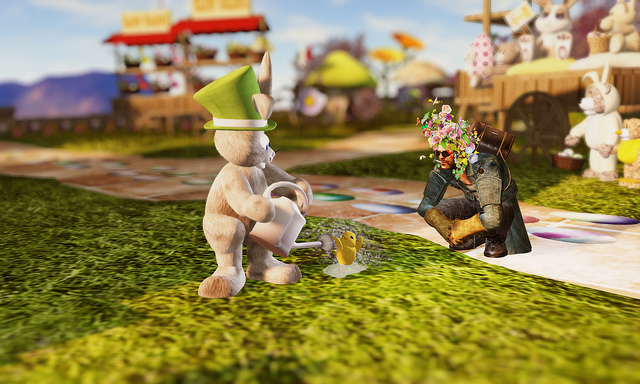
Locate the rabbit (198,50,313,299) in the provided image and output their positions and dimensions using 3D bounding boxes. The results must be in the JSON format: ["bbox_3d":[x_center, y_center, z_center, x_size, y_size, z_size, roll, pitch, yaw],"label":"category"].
[{"bbox_3d":[-0.598,-0.136,4.025,0.915,1.908,1.157,7,10,39],"label":"rabbit"}]

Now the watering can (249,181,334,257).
[{"bbox_3d":[-0.329,0.256,4.097,0.735,0.601,0.418,36,-13,-25],"label":"watering can"}]

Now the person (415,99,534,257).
[{"bbox_3d":[1.490,-0.132,4.643,1.046,1.400,1.037,-12,10,-39],"label":"person"}]

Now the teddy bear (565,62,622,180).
[{"bbox_3d":[4.400,-1.113,7.523,0.697,1.828,0.469,7,16,37],"label":"teddy bear"}]

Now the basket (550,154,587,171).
[{"bbox_3d":[4.276,-0.521,8.192,0.392,0.118,0.357,7,0,2],"label":"basket"}]
